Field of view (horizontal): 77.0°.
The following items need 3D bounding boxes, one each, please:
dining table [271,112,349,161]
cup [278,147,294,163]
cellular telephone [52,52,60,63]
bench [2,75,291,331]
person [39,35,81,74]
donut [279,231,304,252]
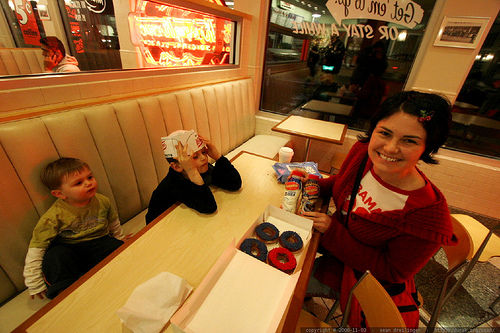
[{"bbox_3d":[0.797,-0.347,4.169,0.756,0.682,0.722,15,42,11],"label":"dining table"},{"bbox_3d":[0.377,-0.128,3.339,0.159,0.143,0.151,9,34,-6],"label":"cup"},{"bbox_3d":[-2.245,-1.266,3.621,0.094,0.122,0.037,7,10,9],"label":"cellular telephone"},{"bbox_3d":[-0.938,0.315,2.559,0.749,0.869,2.136,24,36,33],"label":"bench"},{"bbox_3d":[-2.055,-1.157,3.414,0.356,0.368,1.038,-15,35,-28],"label":"person"},{"bbox_3d":[0.313,0.561,2.370,0.144,0.048,0.142,22,38,25],"label":"donut"}]
